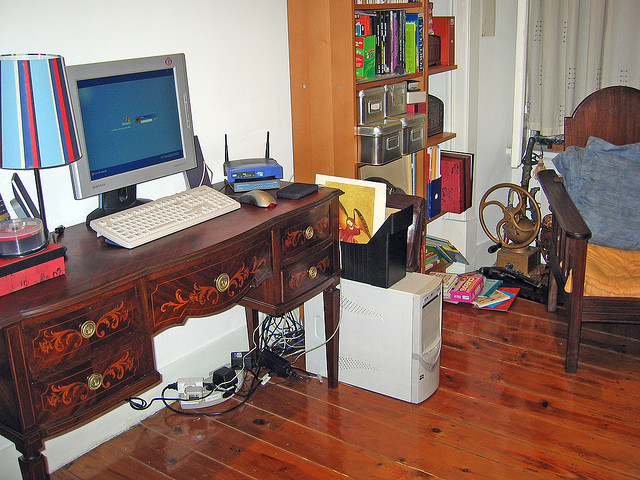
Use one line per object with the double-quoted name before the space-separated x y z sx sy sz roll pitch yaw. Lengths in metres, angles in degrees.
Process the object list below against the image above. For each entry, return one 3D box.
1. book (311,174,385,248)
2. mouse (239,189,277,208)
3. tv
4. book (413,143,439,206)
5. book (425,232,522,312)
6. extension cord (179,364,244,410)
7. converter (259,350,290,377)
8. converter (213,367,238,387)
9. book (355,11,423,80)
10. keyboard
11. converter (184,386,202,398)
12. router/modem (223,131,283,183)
"book" 0.127 -0.118 2.409 0.279 0.305 0.015 11 21 26
"mouse" -0.248 -0.174 2.168 0.113 0.040 0.070 14 23 30
"tv" -0.701 -0.399 1.989 0.071 0.610 0.565 16 29 32
"book" 0.643 -0.404 3.283 0.177 0.317 0.317 9 22 28
"book" 0.941 0.242 3.359 0.528 0.190 0.407 15 28 27
"extension cord" -0.507 0.669 2.510 0.149 0.096 0.265 24 39 30
"converter" -0.232 0.631 2.705 0.151 0.087 0.039 28 36 36
"converter" -0.448 0.653 2.545 0.070 0.070 0.098 0 12 22
"book" 0.357 -1.053 2.869 0.142 0.358 0.384 13 25 35
"keyboard" -0.522 -0.075 1.983 0.227 0.038 0.456 30 40 31
"converter" -0.578 0.709 2.480 0.057 0.062 0.017 3 5 -3
"router/modem" -0.298 -0.413 2.339 0.212 0.277 0.232 19 27 36
